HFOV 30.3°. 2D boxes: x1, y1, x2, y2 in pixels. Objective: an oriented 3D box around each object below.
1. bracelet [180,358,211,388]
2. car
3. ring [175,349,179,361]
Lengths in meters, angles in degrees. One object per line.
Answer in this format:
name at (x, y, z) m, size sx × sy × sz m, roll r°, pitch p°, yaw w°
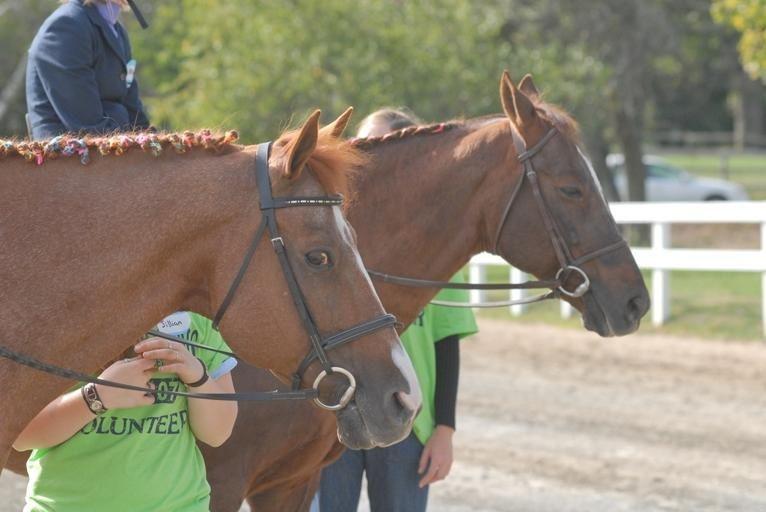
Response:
bracelet at (-1.796, 1.206, 13.859) m, size 0.257 × 0.254 × 0.077 m, roll 14°, pitch 3°, yaw 17°
car at (6.573, -1.585, 31.395) m, size 2.918 × 0.903 × 1.295 m, roll -1°, pitch 7°, yaw 6°
ring at (-1.999, 0.971, 13.835) m, size 0.028 × 0.076 × 0.068 m, roll -5°, pitch 4°, yaw -26°
